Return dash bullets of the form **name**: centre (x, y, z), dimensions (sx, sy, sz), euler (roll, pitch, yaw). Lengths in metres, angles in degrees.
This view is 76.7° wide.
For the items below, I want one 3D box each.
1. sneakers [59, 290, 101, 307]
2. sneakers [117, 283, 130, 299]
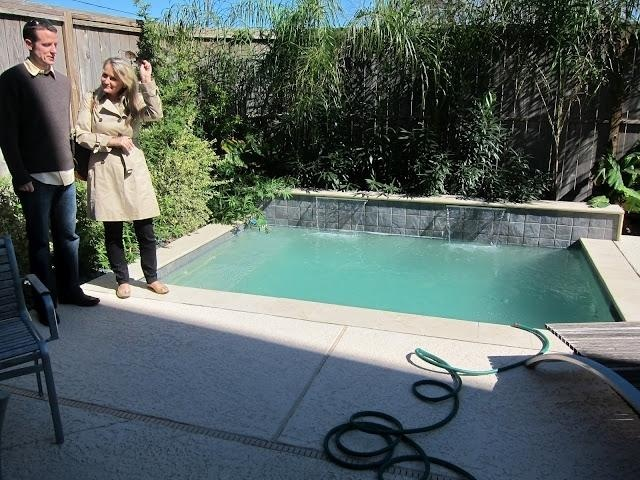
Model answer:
- **sneakers**: centre (-1.950, 0.476, 3.321), dimensions (0.370, 0.156, 0.121), euler (0, 11, -8)
- **sneakers**: centre (-1.669, 0.429, 3.433), dimensions (0.063, 0.135, 0.175), euler (-6, 13, -30)
